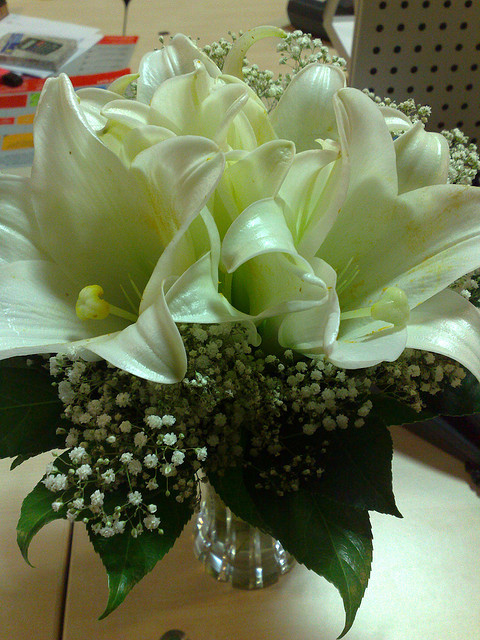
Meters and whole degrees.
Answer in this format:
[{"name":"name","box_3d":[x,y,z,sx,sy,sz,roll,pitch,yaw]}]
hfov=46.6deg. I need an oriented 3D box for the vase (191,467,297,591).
[{"name":"vase","box_3d":[-0.005,0.237,0.618,0.081,0.072,0.078,-6,90,-10]}]
